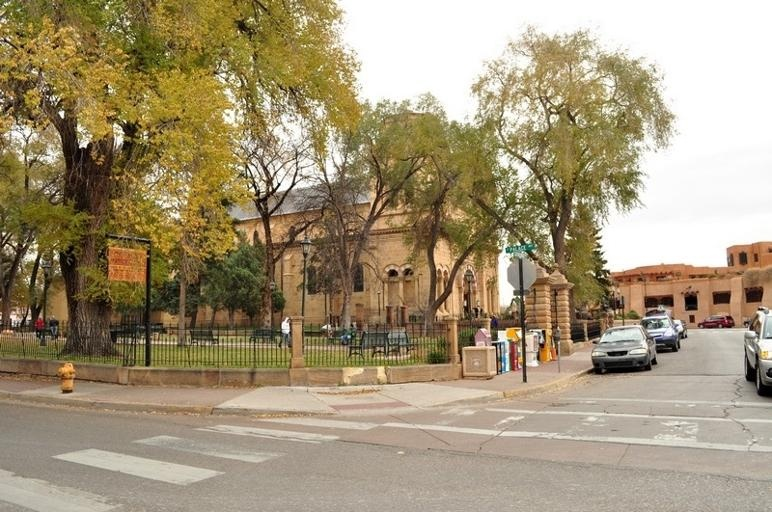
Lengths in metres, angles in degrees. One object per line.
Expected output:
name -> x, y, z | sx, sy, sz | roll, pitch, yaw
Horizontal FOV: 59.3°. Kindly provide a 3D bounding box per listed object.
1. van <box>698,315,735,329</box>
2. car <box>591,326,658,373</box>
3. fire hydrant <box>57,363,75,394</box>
van -> 37.923, 7.567, 77.911 | 3.619, 1.709, 2.094 | -1, -4, 43
car -> 9.619, 3.722, 27.379 | 2.345, 1.964, 2.564 | -4, -10, 17
fire hydrant -> -10.068, 3.838, 21.337 | 0.441, 0.971, 0.662 | 3, -10, -25
